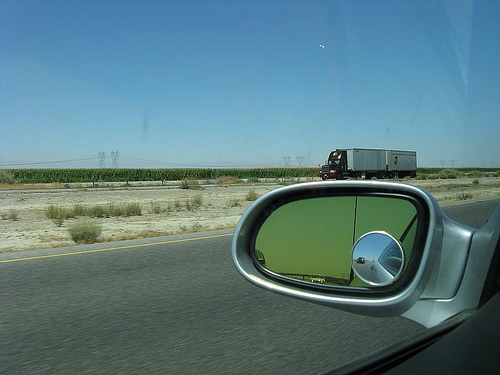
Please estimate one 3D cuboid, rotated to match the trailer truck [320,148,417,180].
[{"bbox_3d":[22.365,-3.948,61.980,22.389,5.681,4.352,-2,0,-31],"label":"trailer truck"}]
